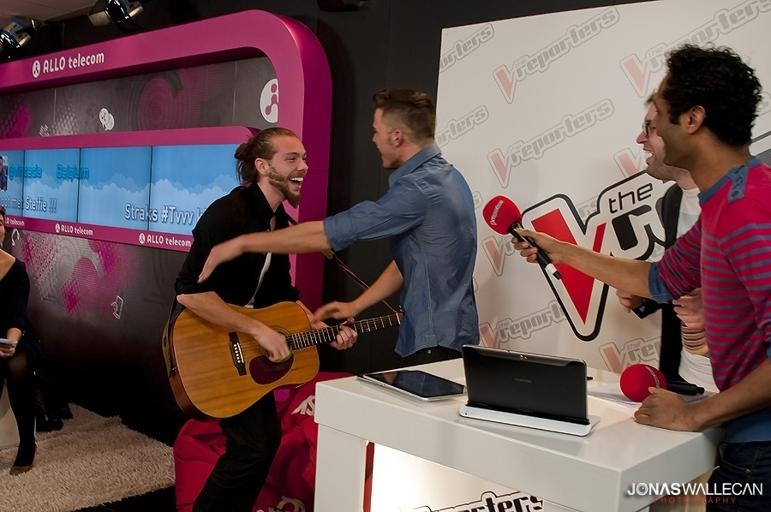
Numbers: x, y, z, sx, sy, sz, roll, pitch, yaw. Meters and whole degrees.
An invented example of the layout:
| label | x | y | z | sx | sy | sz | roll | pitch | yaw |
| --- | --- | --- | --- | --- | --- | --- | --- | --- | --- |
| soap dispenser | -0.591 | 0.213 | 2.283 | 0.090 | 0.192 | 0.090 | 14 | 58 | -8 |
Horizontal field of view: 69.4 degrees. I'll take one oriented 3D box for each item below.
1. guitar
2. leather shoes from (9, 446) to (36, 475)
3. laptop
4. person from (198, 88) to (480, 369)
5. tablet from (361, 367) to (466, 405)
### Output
| label | x | y | z | sx | sy | sz | roll | pitch | yaw |
| --- | --- | --- | --- | --- | --- | --- | --- | --- | --- |
| guitar | -0.601 | 0.511 | 3.175 | 1.305 | 0.670 | 0.184 | -13 | -3 | -27 |
| leather shoes | -2.502 | 1.414 | 3.878 | 0.148 | 0.164 | 0.137 | -3 | 7 | -42 |
| laptop | 0.506 | 0.492 | 2.018 | 0.375 | 0.276 | 0.310 | 3 | 3 | 22 |
| person | -0.136 | 0.431 | 3.089 | 1.225 | 2.556 | 0.855 | -5 | 1 | -11 |
| tablet | 0.129 | 0.505 | 2.325 | 0.338 | 0.073 | 0.263 | 8 | 11 | 44 |
